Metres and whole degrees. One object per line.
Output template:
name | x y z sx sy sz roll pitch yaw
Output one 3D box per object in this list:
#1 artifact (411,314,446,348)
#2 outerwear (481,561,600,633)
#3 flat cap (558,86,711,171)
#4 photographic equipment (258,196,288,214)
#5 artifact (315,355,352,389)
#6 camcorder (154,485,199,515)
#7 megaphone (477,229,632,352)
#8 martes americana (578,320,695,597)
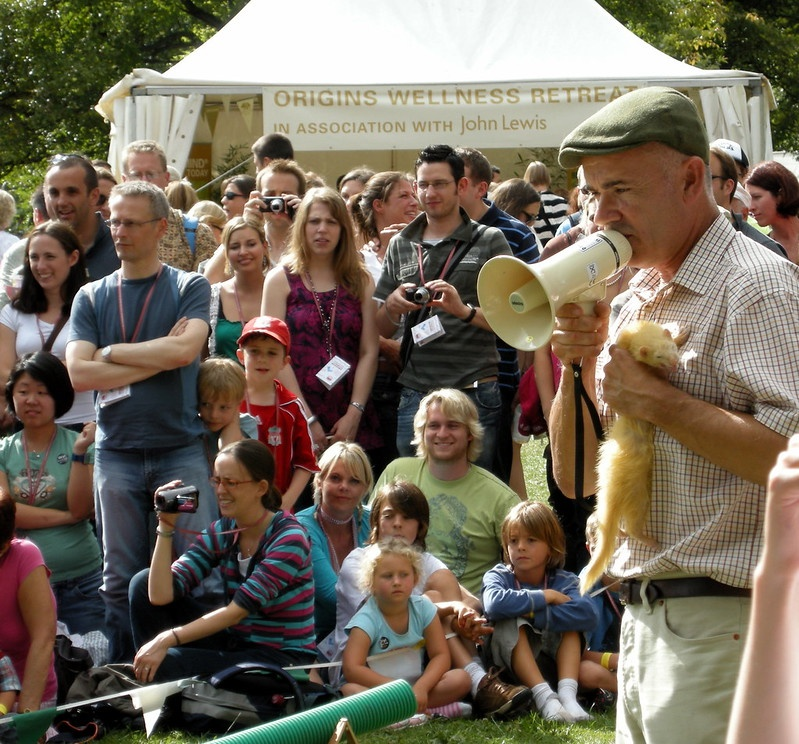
artifact | 0.170 -0.213 6.440 0.199 0.115 0.060 -23 -34 11
outerwear | 0.644 1.056 5.519 0.649 0.368 0.203 5 -25 -10
flat cap | 0.625 -0.658 3.208 0.395 0.209 0.233 1 3 7
photographic equipment | -0.769 -0.996 7.295 0.192 0.091 0.113 1 7 2
artifact | -0.321 0.005 6.532 0.154 0.207 0.055 37 -26 31
camcorder | -0.947 0.554 5.183 0.165 0.103 0.098 -1 3 -19
megaphone | 0.410 -0.255 3.370 0.648 0.318 0.415 -4 10 -21
martes americana | 0.609 0.221 3.206 0.263 0.612 0.262 5 20 10
